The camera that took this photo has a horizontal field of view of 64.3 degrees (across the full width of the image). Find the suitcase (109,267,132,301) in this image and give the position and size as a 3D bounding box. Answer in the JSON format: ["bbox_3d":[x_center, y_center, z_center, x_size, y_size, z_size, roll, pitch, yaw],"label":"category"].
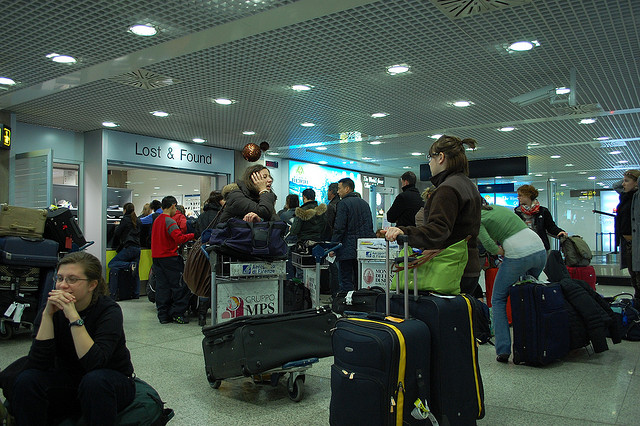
[{"bbox_3d":[-3.849,1.412,10.137,0.522,0.717,0.481,1,-6,-37],"label":"suitcase"}]

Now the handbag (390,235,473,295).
[{"bbox_3d":[0.931,0.484,4.407,0.724,0.525,0.363,-6,-21,44],"label":"handbag"}]

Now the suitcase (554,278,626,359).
[{"bbox_3d":[3.246,1.225,6.046,0.801,0.969,0.430,2,-13,-40],"label":"suitcase"}]

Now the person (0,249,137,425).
[{"bbox_3d":[-2.352,1.113,4.596,0.995,1.525,1.009,-11,-29,9],"label":"person"}]

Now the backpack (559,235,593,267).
[{"bbox_3d":[4.256,0.660,8.439,0.476,0.536,0.324,4,-24,-33],"label":"backpack"}]

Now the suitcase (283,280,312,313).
[{"bbox_3d":[-0.311,1.118,6.825,0.508,0.486,0.367,0,-3,-6],"label":"suitcase"}]

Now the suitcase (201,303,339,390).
[{"bbox_3d":[-0.448,1.422,5.362,1.365,0.666,0.970,2,-22,-39],"label":"suitcase"}]

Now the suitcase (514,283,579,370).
[{"bbox_3d":[2.600,1.287,6.035,0.871,0.917,0.630,-2,-6,-23],"label":"suitcase"}]

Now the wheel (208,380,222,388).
[{"bbox_3d":[-1.054,1.725,5.128,0.102,0.097,0.036,23,10,32],"label":"wheel"}]

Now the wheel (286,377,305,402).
[{"bbox_3d":[-0.236,1.688,4.923,0.175,0.227,0.158,0,-1,9],"label":"wheel"}]

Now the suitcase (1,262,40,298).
[{"bbox_3d":[-3.944,0.901,6.739,0.653,0.385,0.440,3,-4,-21],"label":"suitcase"}]

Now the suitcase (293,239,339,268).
[{"bbox_3d":[-0.123,0.650,8.325,0.551,0.308,0.537,1,-6,3],"label":"suitcase"}]

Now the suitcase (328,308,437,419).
[{"bbox_3d":[0.501,1.173,3.876,0.581,0.970,0.813,5,-9,-36],"label":"suitcase"}]

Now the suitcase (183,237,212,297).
[{"bbox_3d":[-1.458,0.694,6.223,0.264,0.681,0.428,1,-1,-35],"label":"suitcase"}]

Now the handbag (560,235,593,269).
[{"bbox_3d":[4.203,0.631,8.462,0.351,0.590,0.486,-14,1,35],"label":"handbag"}]

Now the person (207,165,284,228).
[{"bbox_3d":[-0.838,-0.199,5.804,0.720,0.732,0.570,1,-1,-11],"label":"person"}]

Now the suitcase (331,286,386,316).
[{"bbox_3d":[0.513,0.934,5.635,0.727,0.257,0.538,-6,3,33],"label":"suitcase"}]
